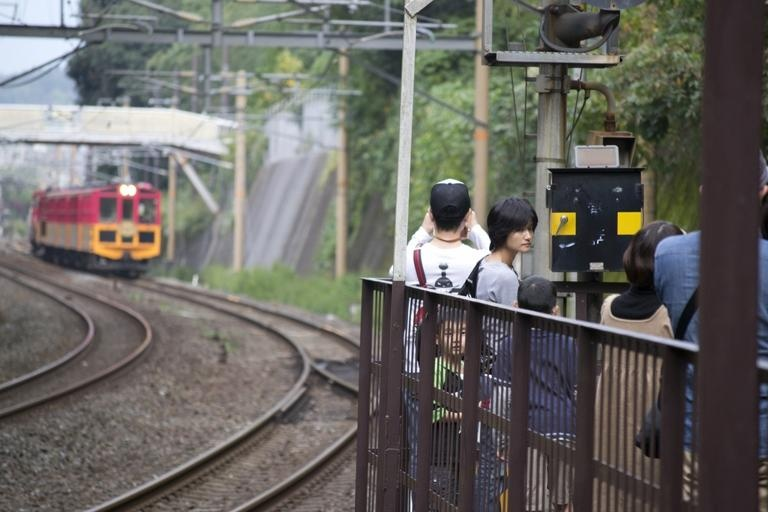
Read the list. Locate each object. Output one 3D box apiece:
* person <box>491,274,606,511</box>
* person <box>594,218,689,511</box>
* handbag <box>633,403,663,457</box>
[{"bbox_3d":[1.029,1.028,8.750,0.545,1.454,0.920,3,8,3],"label":"person"},{"bbox_3d":[1.728,0.765,8.557,0.531,1.809,1.114,4,8,11],"label":"person"},{"bbox_3d":[1.749,1.155,8.255,0.107,0.261,0.332,10,14,-8],"label":"handbag"}]
